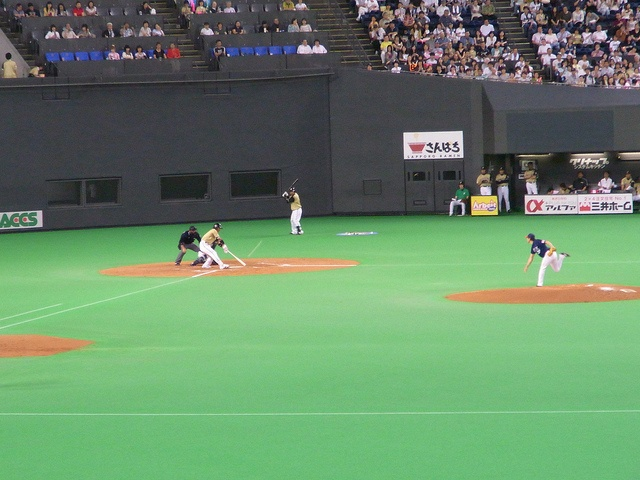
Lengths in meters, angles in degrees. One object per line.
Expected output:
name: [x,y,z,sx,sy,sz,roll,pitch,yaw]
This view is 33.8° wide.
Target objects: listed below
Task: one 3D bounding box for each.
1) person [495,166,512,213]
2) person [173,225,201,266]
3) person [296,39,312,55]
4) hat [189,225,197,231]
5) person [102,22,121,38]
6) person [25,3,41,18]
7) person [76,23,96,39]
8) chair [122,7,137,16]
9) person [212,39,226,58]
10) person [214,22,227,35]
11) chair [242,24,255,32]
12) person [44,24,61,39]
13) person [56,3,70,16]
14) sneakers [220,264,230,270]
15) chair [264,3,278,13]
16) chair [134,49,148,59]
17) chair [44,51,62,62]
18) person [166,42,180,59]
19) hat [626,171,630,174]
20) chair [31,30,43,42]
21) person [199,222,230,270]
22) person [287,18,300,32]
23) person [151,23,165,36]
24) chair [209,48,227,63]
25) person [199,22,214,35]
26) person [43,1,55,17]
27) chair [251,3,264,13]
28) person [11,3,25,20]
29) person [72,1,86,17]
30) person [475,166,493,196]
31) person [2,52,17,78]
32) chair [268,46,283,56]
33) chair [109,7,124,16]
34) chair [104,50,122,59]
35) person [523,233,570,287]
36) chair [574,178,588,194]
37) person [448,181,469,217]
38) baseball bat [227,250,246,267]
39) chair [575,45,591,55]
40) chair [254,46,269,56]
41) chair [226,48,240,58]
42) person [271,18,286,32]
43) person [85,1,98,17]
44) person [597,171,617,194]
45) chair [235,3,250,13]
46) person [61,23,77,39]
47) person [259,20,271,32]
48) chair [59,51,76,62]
person: [7.938,-2.139,45.615,0.622,1.817,1.112,0,12,10]
person: [-3.900,0.131,31.850,0.889,1.185,0.751,-5,21,-27]
person: [-0.685,-8.347,45.940,0.871,0.736,0.446,0,-6,-5]
hat: [-3.752,-0.339,31.348,0.200,0.138,0.145,-7,16,-20]
person: [-8.963,-8.938,45.255,0.712,0.624,1.437,-2,11,-3]
person: [-12.417,-9.854,45.530,0.615,0.612,1.413,-5,11,-15]
person: [-9.974,-8.853,44.973,0.713,0.571,1.391,-4,11,-12]
chair: [-8.495,-10.291,47.277,0.678,0.700,0.616,-2,12,-9]
person: [-4.248,-7.984,44.635,0.610,0.807,0.776,0,4,-9]
person: [-4.332,-9.159,46.142,0.613,0.762,0.699,0,2,-4]
chair: [-3.149,-9.331,47.013,0.456,0.501,0.460,0,2,-10]
person: [-11.270,-8.728,44.471,0.649,0.611,1.224,-4,11,-14]
person: [-11.270,-10.043,46.194,0.385,0.467,0.787,0,11,10]
sneakers: [-2.780,0.749,30.966,0.270,0.170,0.638,-2,11,-3]
chair: [-2.233,-10.671,48.477,0.618,0.697,0.618,-1,0,-4]
chair: [-7.535,-7.832,44.440,0.545,0.441,0.867,-3,11,-9]
chair: [-11.031,-7.532,43.580,0.726,0.448,0.497,-2,8,-17]
person: [-6.189,-7.944,44.621,0.601,0.648,1.399,-3,11,-7]
hat: [13.283,-2.875,45.188,0.178,0.116,0.168,0,2,2]
chair: [-11.995,-8.635,44.429,0.628,0.569,0.618,-1,2,-11]
person: [-3.118,0.174,31.151,0.838,1.381,1.949,-3,11,-7]
person: [-1.142,-9.433,46.660,0.532,0.640,1.401,-2,11,-1]
person: [-7.044,-9.096,46.093,0.520,0.569,1.370,-3,11,-8]
chair: [-4.266,-7.822,44.588,0.533,0.465,0.765,-6,12,-22]
person: [-4.890,-9.082,45.801,0.601,0.548,1.316,-3,11,-7]
person: [-11.715,-9.917,45.686,0.551,0.608,1.280,-4,11,-14]
chair: [-2.909,-10.632,48.447,0.537,0.359,0.643,2,11,18]
person: [-13.019,-9.832,45.579,0.478,0.700,1.565,-5,11,-15]
person: [-10.625,-10.110,46.470,0.496,0.558,0.974,-4,11,-12]
person: [7.042,-2.475,44.933,0.593,1.125,0.727,-1,12,4]
person: [-12.363,-6.898,41.949,0.525,0.953,0.792,-5,12,-15]
chair: [-1.910,-8.223,45.892,0.641,0.301,0.264,-3,11,-7]
chair: [-9.143,-10.171,47.330,0.529,0.610,0.533,-3,15,-16]
chair: [-8.686,-7.684,44.242,0.370,0.482,0.569,-3,1,-24]
person: [5.819,0.478,27.024,0.893,1.460,2.330,1,11,12]
chair: [11.297,-2.378,45.503,0.614,0.550,1.319,1,11,14]
person: [5.989,-1.753,44.907,0.861,1.352,0.827,0,12,6]
baseball bat: [-2.569,0.578,32.763,0.801,0.110,0.121,32,-1,-30]
chair: [11.753,-8.346,46.690,0.540,0.460,0.543,-14,22,-37]
chair: [-2.509,-8.122,45.484,0.574,0.344,0.724,-2,11,-3]
chair: [-3.682,-7.943,44.911,0.558,0.388,0.997,-2,11,-4]
person: [-1.844,-9.496,46.972,0.801,0.650,0.458,-2,8,-13]
person: [-10.081,-10.130,46.517,0.545,0.637,1.234,-4,11,-11]
person: [12.314,-2.484,45.020,0.734,0.768,2.308,1,11,15]
chair: [-3.548,-10.606,48.299,0.648,0.595,0.762,-2,-6,0]
person: [-10.572,-8.753,44.551,0.602,0.634,1.174,-4,11,-12]
person: [-2.457,-9.385,46.648,0.507,0.500,0.902,-2,11,-3]
chair: [-10.475,-7.615,43.863,0.495,0.589,0.518,-1,6,-18]
